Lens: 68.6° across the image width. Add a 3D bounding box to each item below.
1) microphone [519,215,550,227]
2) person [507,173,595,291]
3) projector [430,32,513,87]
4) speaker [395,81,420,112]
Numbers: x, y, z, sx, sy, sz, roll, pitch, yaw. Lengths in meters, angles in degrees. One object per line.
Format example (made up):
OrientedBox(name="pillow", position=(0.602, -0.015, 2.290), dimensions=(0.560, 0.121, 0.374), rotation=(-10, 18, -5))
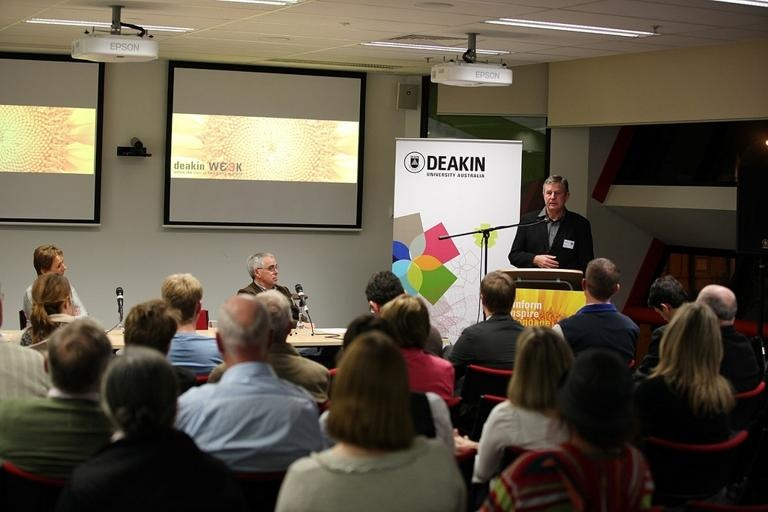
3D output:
OrientedBox(name="microphone", position=(1.647, -0.377, 6.131), dimensions=(0.207, 0.053, 0.160), rotation=(-6, 0, -2))
OrientedBox(name="person", position=(1.847, -0.241, 6.062), dimensions=(0.574, 1.461, 0.560), rotation=(0, 0, 3))
OrientedBox(name="projector", position=(0.970, -2.132, 6.107), dimensions=(0.825, 0.513, 0.663), rotation=(-3, 16, -15))
OrientedBox(name="speaker", position=(0.351, -2.331, 8.174), dimensions=(0.412, 0.420, 0.203), rotation=(1, -1, -12))
